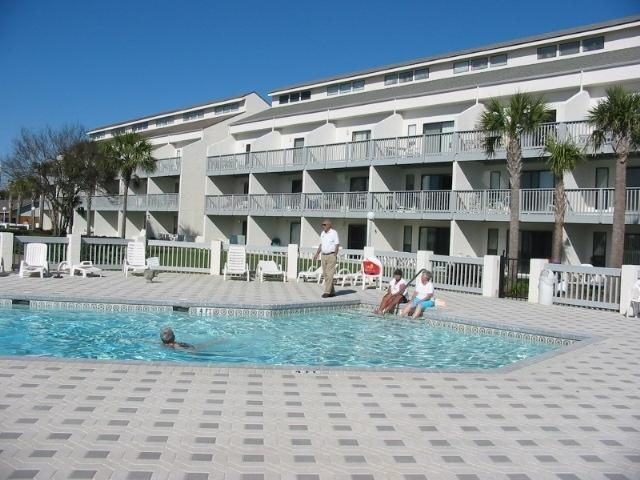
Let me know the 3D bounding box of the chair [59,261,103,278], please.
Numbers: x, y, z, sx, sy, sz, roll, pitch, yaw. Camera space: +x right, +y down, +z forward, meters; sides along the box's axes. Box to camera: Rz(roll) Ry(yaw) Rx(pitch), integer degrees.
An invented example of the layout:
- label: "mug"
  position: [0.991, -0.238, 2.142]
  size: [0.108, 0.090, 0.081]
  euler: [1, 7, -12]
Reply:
- label: "chair"
  position: [-9.008, 1.085, 18.385]
  size: [1.208, 0.485, 0.930]
  euler: [0, -1, 35]

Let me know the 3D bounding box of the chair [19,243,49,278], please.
- label: "chair"
  position: [-10.075, 0.631, 17.369]
  size: [0.795, 1.102, 1.450]
  euler: [0, 2, -21]

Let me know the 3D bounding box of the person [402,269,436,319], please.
- label: "person"
  position: [2.733, 1.437, 13.538]
  size: [0.625, 1.291, 0.977]
  euler: [3, 2, 26]

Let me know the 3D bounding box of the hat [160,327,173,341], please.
- label: "hat"
  position: [-2.990, 1.833, 9.675]
  size: [0.260, 0.341, 0.336]
  euler: [-2, -13, -12]

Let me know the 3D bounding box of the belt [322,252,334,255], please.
- label: "belt"
  position: [0.246, 0.392, 15.116]
  size: [0.452, 0.085, 0.069]
  euler: [4, 3, 33]

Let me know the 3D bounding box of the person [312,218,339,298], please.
- label: "person"
  position: [0.191, 0.560, 15.080]
  size: [0.690, 2.359, 1.194]
  euler: [2, 2, -1]

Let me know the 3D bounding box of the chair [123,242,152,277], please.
- label: "chair"
  position: [-7.187, 0.674, 19.176]
  size: [0.826, 1.280, 1.597]
  euler: [1, 2, -21]

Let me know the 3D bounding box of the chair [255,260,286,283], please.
- label: "chair"
  position: [-2.075, 1.168, 19.538]
  size: [0.787, 0.682, 1.058]
  euler: [0, 0, -18]

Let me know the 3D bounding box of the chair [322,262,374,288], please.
- label: "chair"
  position: [1.089, 1.356, 19.099]
  size: [1.634, 1.067, 0.988]
  euler: [4, -6, -40]

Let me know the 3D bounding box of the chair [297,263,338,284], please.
- label: "chair"
  position: [-0.339, 1.340, 19.529]
  size: [0.690, 0.664, 1.019]
  euler: [-2, -6, 34]

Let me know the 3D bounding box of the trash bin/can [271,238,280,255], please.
- label: "trash bin/can"
  position: [-2.527, 0.290, 27.605]
  size: [0.636, 1.065, 0.702]
  euler: [0, 0, -5]

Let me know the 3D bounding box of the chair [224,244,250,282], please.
- label: "chair"
  position: [-3.223, 0.872, 19.233]
  size: [0.949, 1.321, 1.133]
  euler: [2, 2, -8]

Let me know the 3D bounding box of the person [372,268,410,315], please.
- label: "person"
  position: [2.018, 1.508, 14.129]
  size: [1.185, 1.343, 0.671]
  euler: [-7, 10, -40]
